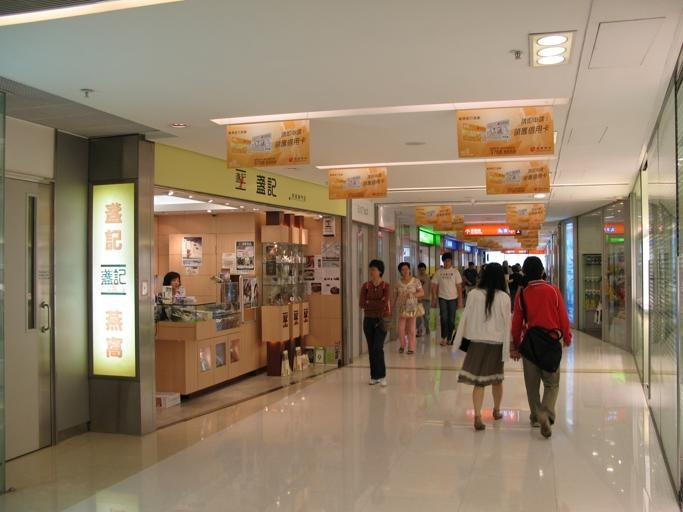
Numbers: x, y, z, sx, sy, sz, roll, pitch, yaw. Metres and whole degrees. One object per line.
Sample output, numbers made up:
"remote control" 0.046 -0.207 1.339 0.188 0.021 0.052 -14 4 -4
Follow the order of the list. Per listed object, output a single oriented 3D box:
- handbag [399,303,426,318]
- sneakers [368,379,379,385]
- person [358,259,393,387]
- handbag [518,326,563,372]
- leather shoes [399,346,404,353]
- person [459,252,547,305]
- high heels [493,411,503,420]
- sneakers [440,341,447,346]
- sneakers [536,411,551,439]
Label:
"handbag" 1.559 1.175 11.006 0.610 0.288 0.430 -4 13 -2
"sneakers" 0.531 2.100 8.358 0.184 0.081 0.072 2 0 -7
"person" 0.552 1.096 8.120 0.470 1.984 0.659 -2 0 5
"handbag" 2.247 1.032 5.645 0.379 0.404 0.197 29 21 19
"leather shoes" 1.357 2.117 11.333 0.126 0.096 0.361 -1 -2 3
"person" 3.764 0.442 12.236 1.386 0.487 2.011 -5 1 43
"high heels" 1.962 2.000 6.312 0.081 0.123 0.124 3 9 35
"sneakers" 2.467 2.103 12.075 0.146 0.123 0.241 -2 1 11
"sneakers" 2.285 1.836 5.589 0.112 0.353 0.153 -9 -4 0
